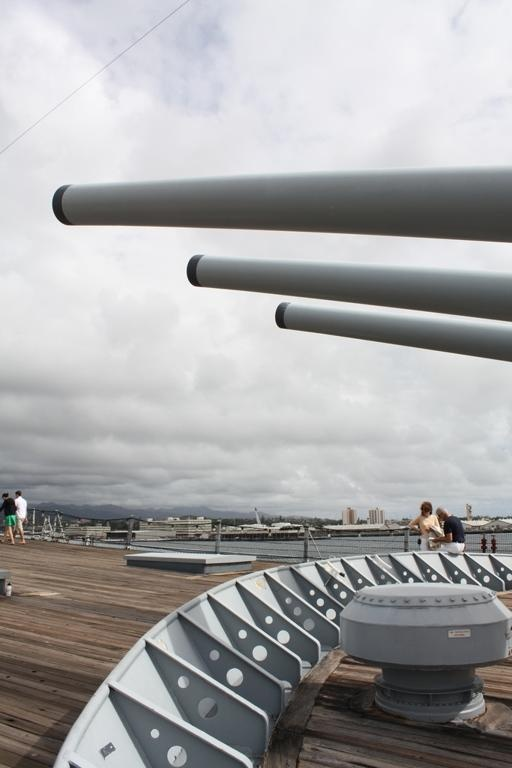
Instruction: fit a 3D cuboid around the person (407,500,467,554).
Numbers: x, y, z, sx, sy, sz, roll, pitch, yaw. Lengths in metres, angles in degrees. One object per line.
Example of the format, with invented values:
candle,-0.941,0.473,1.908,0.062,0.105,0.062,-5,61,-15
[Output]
person,2.845,2.244,9.844,0.680,0.838,0.845,5,1,-14
